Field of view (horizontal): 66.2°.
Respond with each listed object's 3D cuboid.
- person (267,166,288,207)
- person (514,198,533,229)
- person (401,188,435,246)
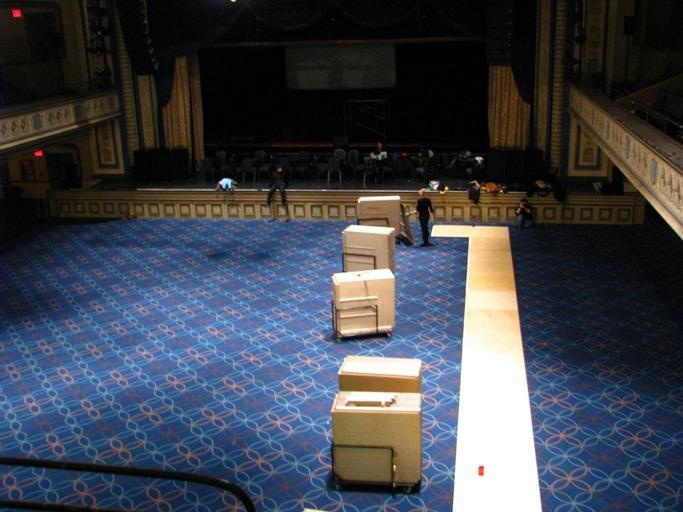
[{"bbox_3d":[-1.825,-2.024,15.406,0.569,1.257,0.709,6,17,22],"label":"person"},{"bbox_3d":[4.913,-1.147,14.070,0.528,0.783,0.294,-8,17,-26],"label":"person"},{"bbox_3d":[2.070,-1.187,13.796,0.678,1.401,2.594,2,15,9],"label":"person"}]
